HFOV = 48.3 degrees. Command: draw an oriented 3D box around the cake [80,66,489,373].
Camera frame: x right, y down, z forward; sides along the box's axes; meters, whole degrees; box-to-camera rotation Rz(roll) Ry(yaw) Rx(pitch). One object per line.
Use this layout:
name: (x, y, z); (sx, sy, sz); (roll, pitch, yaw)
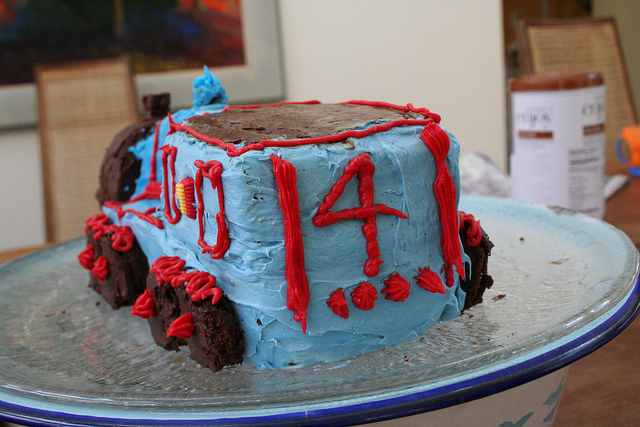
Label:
cake: (-0.171, 0.006, 1.495); (0.764, 0.357, 0.577); (5, 18, 40)
